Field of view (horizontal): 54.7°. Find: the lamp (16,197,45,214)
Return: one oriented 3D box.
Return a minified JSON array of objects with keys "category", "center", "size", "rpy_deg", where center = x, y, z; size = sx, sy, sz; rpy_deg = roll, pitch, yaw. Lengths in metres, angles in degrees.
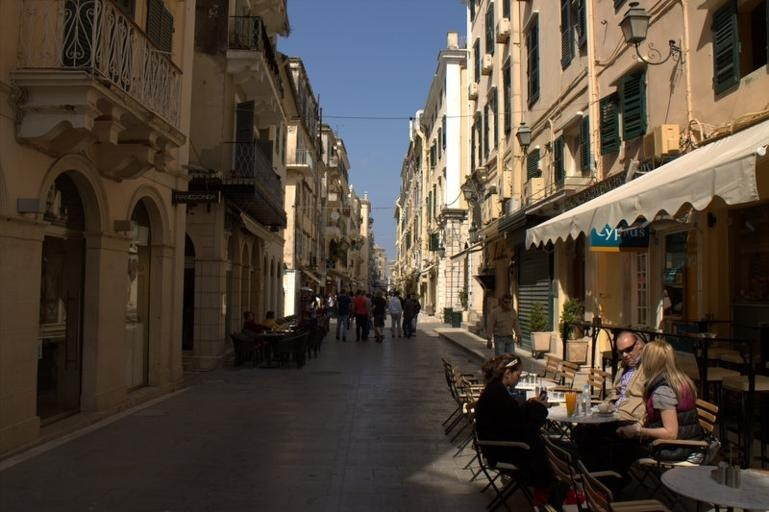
[{"category":"lamp","center":[-5.586,-0.794,11.836],"size":[0.257,0.241,0.488],"rpy_deg":[2,4,27]}]

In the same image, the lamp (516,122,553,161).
[{"category":"lamp","center":[4.452,-3.521,22.261],"size":[0.938,1.635,1.070],"rpy_deg":[1,0,7]}]

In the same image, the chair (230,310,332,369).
[{"category":"chair","center":[-2.962,2.490,21.166],"size":[1.885,1.395,3.562],"rpy_deg":[0,4,4]}]

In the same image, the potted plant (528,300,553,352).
[{"category":"potted plant","center":[4.292,2.032,20.564],"size":[0.555,1.436,0.554],"rpy_deg":[0,4,7]}]

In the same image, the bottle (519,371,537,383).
[{"category":"bottle","center":[2.341,2.015,12.214],"size":[0.414,0.176,0.451],"rpy_deg":[0,-6,0]}]

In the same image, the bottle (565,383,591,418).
[{"category":"bottle","center":[2.794,2.119,10.739],"size":[0.296,0.466,0.169],"rpy_deg":[3,-14,-9]}]

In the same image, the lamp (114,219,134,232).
[{"category":"lamp","center":[-4.983,-0.563,14.134],"size":[0.315,0.232,0.211],"rpy_deg":[-1,4,-15]}]

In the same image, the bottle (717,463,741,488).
[{"category":"bottle","center":[3.824,2.451,8.248],"size":[0.257,0.307,0.182],"rpy_deg":[-2,-1,3]}]
